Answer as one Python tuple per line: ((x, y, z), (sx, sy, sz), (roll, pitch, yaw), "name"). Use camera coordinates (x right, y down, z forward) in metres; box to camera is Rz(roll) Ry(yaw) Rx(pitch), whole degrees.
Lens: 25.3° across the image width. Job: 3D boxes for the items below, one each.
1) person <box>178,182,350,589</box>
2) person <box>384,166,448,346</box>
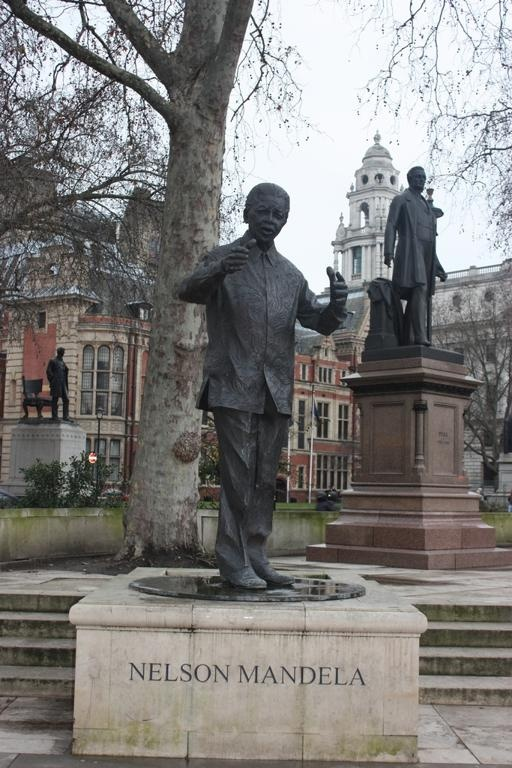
((0.047, 0.013, 5.835), (0.783, 1.986, 0.642), (-3, 0, -29), "person")
((1.908, -1.523, 13.723), (0.715, 1.984, 0.929), (-2, 0, 9), "person")
